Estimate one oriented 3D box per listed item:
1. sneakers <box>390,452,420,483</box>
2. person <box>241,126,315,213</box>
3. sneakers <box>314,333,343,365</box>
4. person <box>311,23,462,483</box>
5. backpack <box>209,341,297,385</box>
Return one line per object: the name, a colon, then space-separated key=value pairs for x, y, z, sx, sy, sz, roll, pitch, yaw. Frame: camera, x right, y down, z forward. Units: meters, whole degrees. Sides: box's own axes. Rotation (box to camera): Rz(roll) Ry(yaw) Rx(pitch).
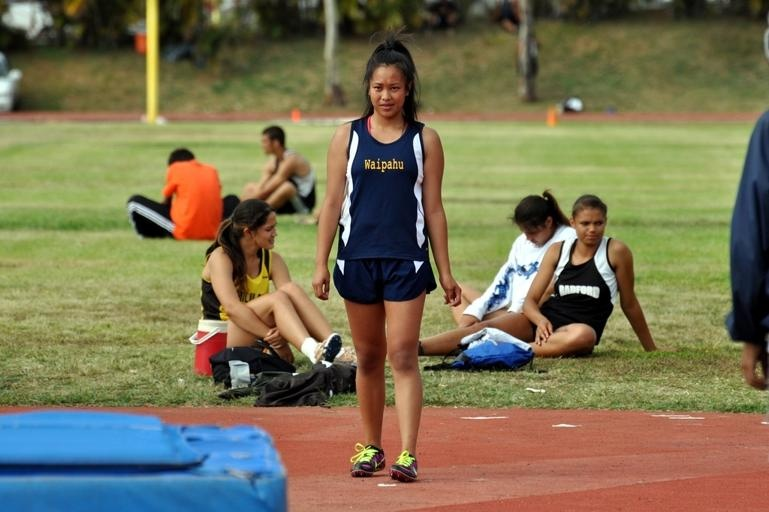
sneakers: x=0.187 y=1.825 z=12.699 sx=0.281 sy=0.277 sz=0.169 roll=-4 pitch=9 yaw=-17
person: x=-1.350 y=-1.232 z=21.595 sx=1.529 sy=1.472 sz=0.997 roll=0 pitch=8 yaw=-7
sneakers: x=-0.536 y=0.933 z=14.568 sx=0.151 sy=0.386 sz=0.182 roll=42 pitch=-22 yaw=-28
person: x=0.032 y=0.028 z=12.747 sx=1.237 sy=3.824 sz=0.826 roll=-1 pitch=9 yaw=0
backpack: x=-1.345 y=1.070 z=14.614 sx=0.606 sy=0.225 sz=0.458 roll=2 pitch=-2 yaw=-37
